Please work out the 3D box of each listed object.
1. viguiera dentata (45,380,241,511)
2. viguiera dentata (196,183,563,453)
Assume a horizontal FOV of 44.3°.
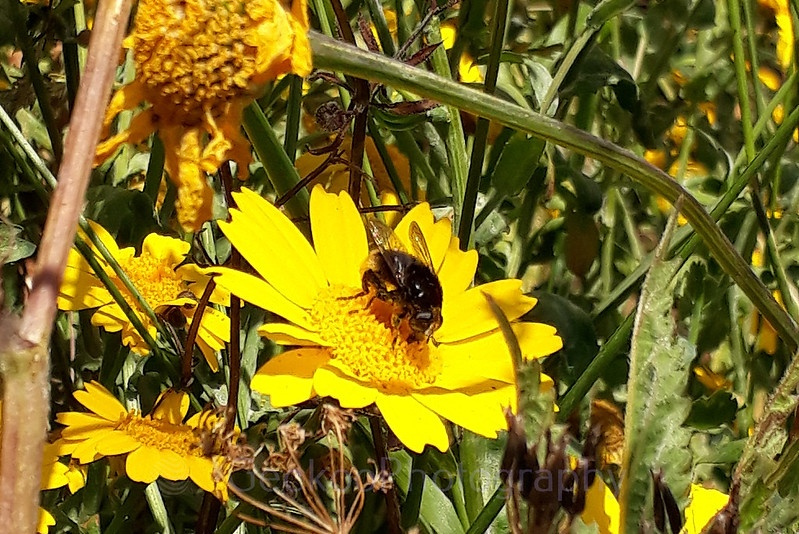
[{"bbox_3d":[-0.226,0.170,0.986,0.214,0.114,0.171,-4,-6,20],"label":"viguiera dentata"},{"bbox_3d":[-0.022,0.039,0.881,0.283,0.242,0.133,-3,-5,9],"label":"viguiera dentata"}]
